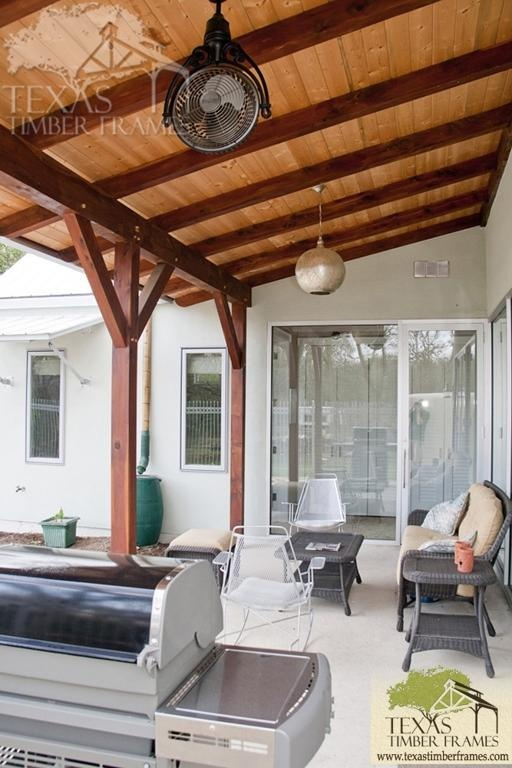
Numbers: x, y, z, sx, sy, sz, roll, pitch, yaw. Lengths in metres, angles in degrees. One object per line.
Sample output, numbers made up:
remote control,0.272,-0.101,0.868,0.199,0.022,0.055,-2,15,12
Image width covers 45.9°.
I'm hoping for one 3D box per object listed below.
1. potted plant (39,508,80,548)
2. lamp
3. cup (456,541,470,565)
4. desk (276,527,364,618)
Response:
potted plant,-2.188,1.585,6.730,0.358,0.399,0.492,1,-3,-13
lamp,0.531,-1.180,5.187,0.370,0.923,1.038,0,-3,5
cup,1.210,1.009,3.616,0.084,0.119,0.116,0,-4,14
desk,0.529,1.459,4.815,0.546,0.420,0.855,0,-1,15
